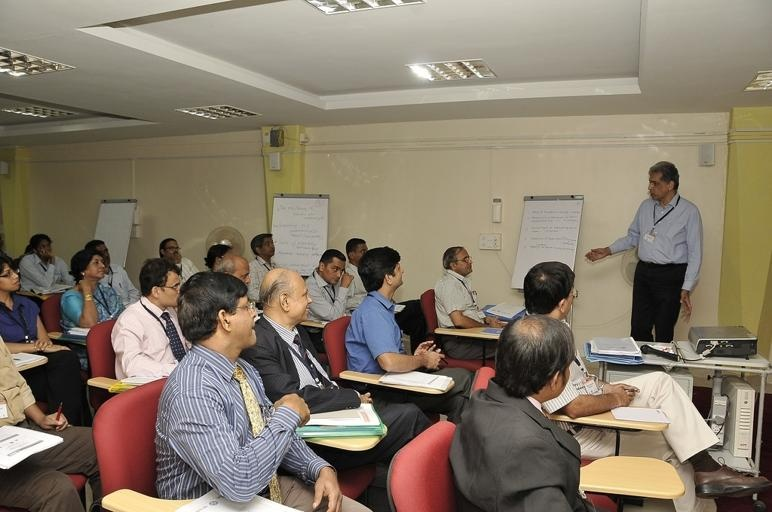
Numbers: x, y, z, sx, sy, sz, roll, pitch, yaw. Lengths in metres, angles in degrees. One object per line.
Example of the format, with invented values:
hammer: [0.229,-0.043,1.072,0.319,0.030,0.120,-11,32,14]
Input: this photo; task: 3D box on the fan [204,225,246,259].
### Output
fan: [-2.308,-0.234,7.199,0.470,0.511,0.111,-1,6,8]

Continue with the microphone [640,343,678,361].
microphone: [2.028,0.718,3.738,0.274,0.086,0.092,9,42,39]

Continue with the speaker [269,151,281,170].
speaker: [-1.514,-1.295,6.812,0.203,0.239,0.107,5,4,32]

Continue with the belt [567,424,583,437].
belt: [1.159,1.069,3.054,0.069,0.079,0.021,4,-4,-3]

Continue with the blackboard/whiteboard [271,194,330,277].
blackboard/whiteboard: [-1.076,-0.259,6.378,1.003,1.486,0.072,1,0,14]

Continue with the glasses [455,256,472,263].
glasses: [0.744,0.042,4.805,0.095,0.060,0.076,-6,-5,22]
